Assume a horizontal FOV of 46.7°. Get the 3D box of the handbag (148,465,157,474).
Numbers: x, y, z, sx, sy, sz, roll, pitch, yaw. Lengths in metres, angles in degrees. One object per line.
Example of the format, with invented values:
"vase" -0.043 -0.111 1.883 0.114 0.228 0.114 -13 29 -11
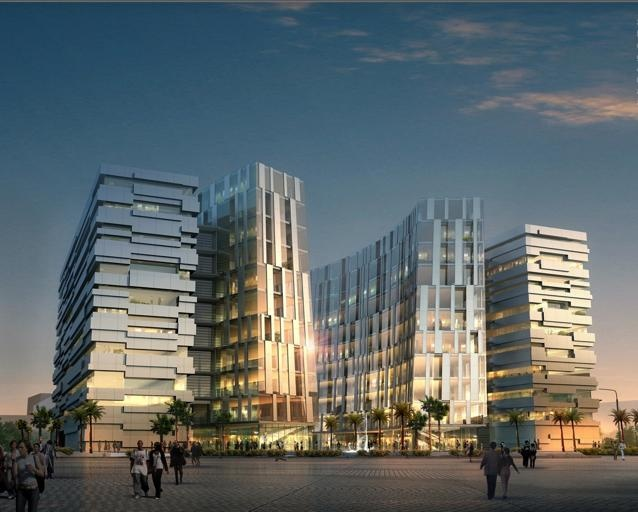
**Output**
"handbag" -6.752 8.735 29.993 0.212 0.345 0.381 0 -2 -39
